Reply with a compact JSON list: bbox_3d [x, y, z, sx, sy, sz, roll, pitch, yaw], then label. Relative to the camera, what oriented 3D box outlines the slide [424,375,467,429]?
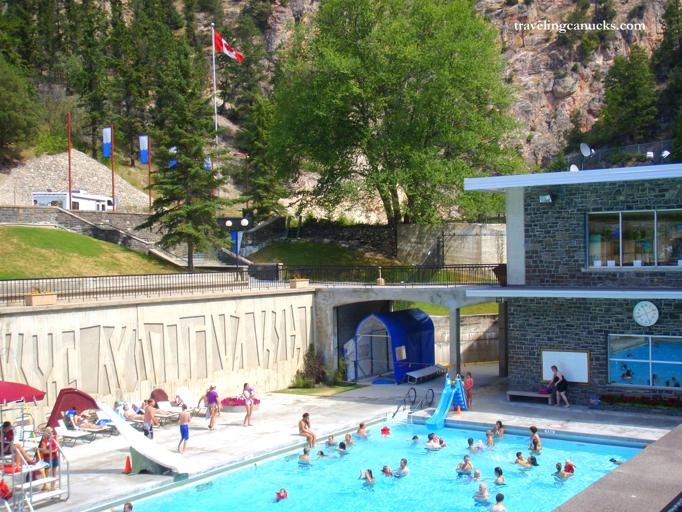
[{"bbox_3d":[5.613,7.737,56.299,1.033,2.468,2.832,-2,-1,43],"label":"slide"}]

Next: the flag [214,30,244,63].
[{"bbox_3d":[-10.355,-18.664,94.314,2.172,2.098,6.018,-2,-1,-5],"label":"flag"}]

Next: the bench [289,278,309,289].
[{"bbox_3d":[-2.599,1.674,63.270,1.373,0.496,0.419,-1,-1,-38],"label":"bench"}]
